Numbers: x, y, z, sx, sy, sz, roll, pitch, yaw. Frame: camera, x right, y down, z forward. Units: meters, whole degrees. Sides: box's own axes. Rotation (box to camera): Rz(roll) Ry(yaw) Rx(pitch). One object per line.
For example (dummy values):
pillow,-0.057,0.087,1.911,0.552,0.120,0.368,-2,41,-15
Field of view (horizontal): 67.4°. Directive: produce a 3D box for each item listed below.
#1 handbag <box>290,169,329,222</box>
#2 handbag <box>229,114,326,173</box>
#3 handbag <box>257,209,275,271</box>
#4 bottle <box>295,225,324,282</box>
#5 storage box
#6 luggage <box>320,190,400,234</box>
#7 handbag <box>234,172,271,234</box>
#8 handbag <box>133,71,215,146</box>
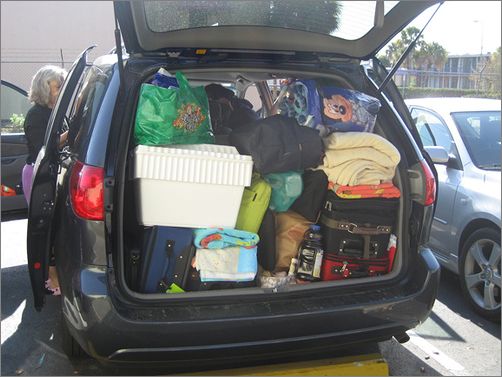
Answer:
handbag,0.378,0.049,2.414,0.225,0.305,0.107,25,11,37
handbag,0.105,-0.274,2.571,0.655,0.348,0.652,-10,13,-40
handbag,0.100,0.350,2.398,0.070,0.320,0.226,0,-2,4
bottle,0.398,0.430,2.455,0.178,0.370,0.168,10,-10,2
storage box,-0.323,-0.022,2.162,0.589,0.431,0.432,2,6,-15
luggage,0.616,0.224,2.630,0.724,0.233,0.714,1,-12,7
handbag,0.002,0.090,2.294,0.135,0.372,0.229,17,15,-23
handbag,-0.458,-0.475,2.268,0.207,0.412,0.483,15,21,43
